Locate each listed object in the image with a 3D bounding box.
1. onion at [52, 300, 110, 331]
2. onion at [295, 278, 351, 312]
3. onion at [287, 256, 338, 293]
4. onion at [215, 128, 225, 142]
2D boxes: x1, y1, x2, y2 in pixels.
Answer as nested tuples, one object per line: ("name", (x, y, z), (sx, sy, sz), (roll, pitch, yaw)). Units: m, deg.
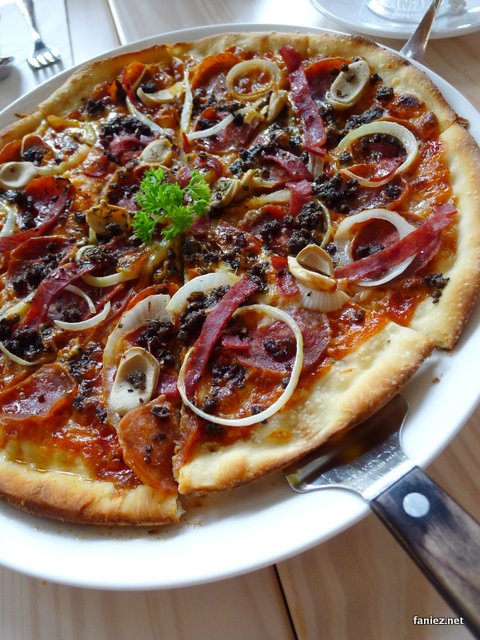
("onion", (-0.727, -0.006, 2.886), (0.273, 0.077, 0.106), (-10, 47, -6))
("onion", (0.348, -0.095, 2.635), (0.161, 0.041, 0.158), (26, 57, 21))
("onion", (0.309, -0.182, 2.658), (0.178, 0.052, 0.124), (27, 86, 19))
("onion", (-0.105, -1.011, 3.432), (0.054, 0.019, 0.061), (3, 51, 10))
